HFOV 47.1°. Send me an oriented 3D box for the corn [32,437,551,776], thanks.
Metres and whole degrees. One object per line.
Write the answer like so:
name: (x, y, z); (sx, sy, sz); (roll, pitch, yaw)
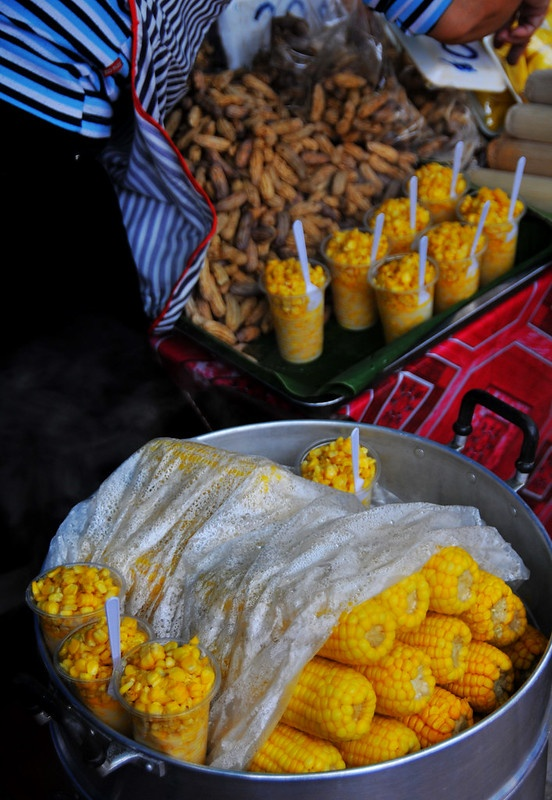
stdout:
corn: (-0.060, 0.222, 0.891); (0.400, 0.190, 0.525); (-37, 35, -27)
